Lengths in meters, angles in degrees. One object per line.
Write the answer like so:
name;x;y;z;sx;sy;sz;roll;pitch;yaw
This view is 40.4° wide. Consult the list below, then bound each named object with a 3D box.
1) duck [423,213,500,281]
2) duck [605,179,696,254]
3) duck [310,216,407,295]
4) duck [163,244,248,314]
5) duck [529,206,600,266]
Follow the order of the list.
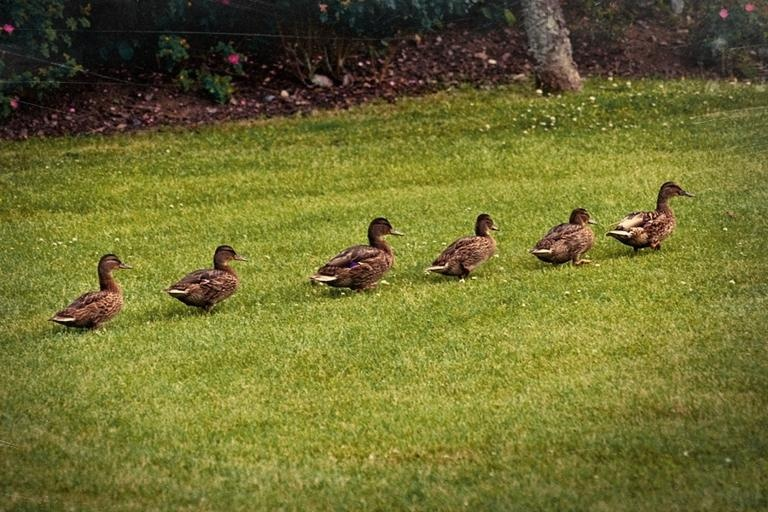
duck;0.893;-0.076;12.392;1.034;0.759;0.535;-8;11;-26
duck;3.155;-0.466;12.468;1.116;0.823;0.468;-4;9;-13
duck;-0.326;0.018;12.280;1.257;0.911;0.599;-7;14;-31
duck;-2.095;0.301;12.023;0.966;0.790;0.489;-5;10;-32
duck;2.136;-0.221;12.501;0.929;0.636;0.511;-6;0;-25
